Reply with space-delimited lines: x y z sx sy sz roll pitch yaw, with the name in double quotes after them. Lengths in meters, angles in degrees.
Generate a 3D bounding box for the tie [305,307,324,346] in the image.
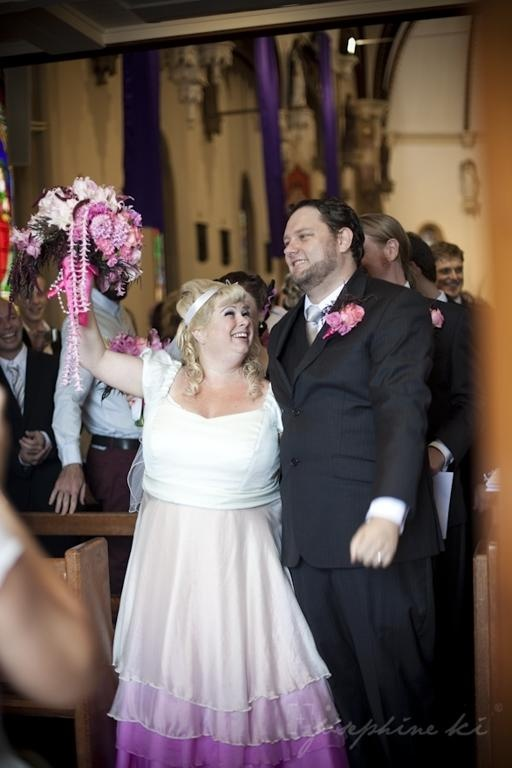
0.193 -0.194 2.256 0.069 0.112 0.027 -6 -4 42 "tie"

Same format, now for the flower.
-0.608 -0.526 2.369 0.495 0.463 0.473 28 36 33 "flower"
